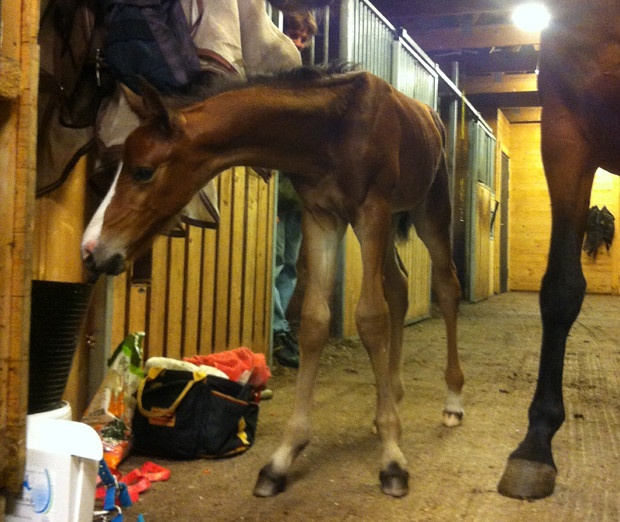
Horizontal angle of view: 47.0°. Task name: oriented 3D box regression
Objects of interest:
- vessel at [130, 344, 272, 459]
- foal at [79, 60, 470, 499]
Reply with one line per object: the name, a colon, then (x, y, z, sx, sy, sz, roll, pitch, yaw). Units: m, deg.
vessel: (-0.580, 0.708, 3.608, 0.512, 0.519, 0.673, 4, -3, 11)
foal: (0.065, 0.006, 3.357, 0.903, 2.003, 2.142, -4, -6, 37)
